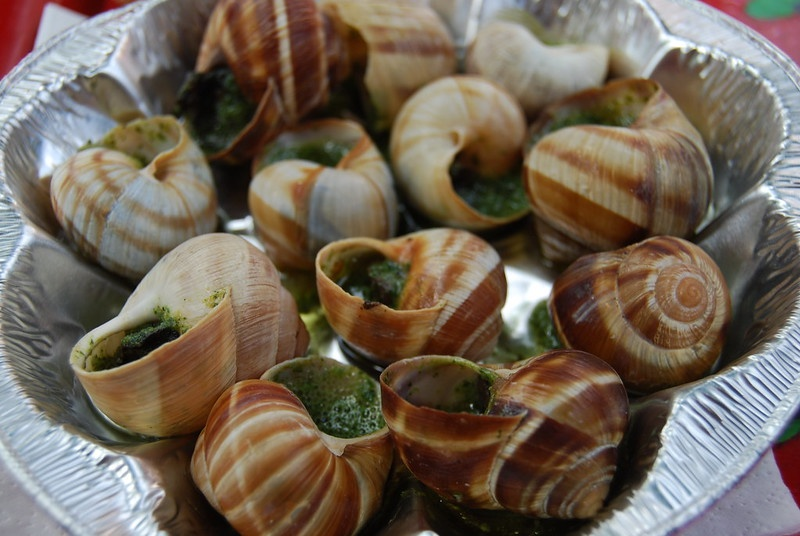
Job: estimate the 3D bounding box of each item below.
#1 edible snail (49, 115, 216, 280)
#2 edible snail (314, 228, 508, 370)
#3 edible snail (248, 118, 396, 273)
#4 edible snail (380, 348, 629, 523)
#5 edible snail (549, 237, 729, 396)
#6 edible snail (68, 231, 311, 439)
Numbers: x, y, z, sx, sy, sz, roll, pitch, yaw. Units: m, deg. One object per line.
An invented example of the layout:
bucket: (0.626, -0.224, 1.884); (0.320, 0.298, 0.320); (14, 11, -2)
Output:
edible snail: (-0.361, -0.099, 1.040); (0.194, 0.130, 0.245); (12, 92, -8)
edible snail: (0.018, 0.047, 1.084); (0.273, 0.207, 0.234); (7, 34, 2)
edible snail: (-0.114, -0.105, 1.070); (0.179, 0.132, 0.236); (-11, 90, -6)
edible snail: (0.121, 0.181, 0.964); (0.323, 0.215, 0.221); (11, 92, -3)
edible snail: (0.315, 0.058, 0.988); (0.225, 0.142, 0.147); (17, 53, 5)
edible snail: (-0.247, 0.076, 0.968); (0.266, 0.183, 0.199); (-21, 46, -26)
